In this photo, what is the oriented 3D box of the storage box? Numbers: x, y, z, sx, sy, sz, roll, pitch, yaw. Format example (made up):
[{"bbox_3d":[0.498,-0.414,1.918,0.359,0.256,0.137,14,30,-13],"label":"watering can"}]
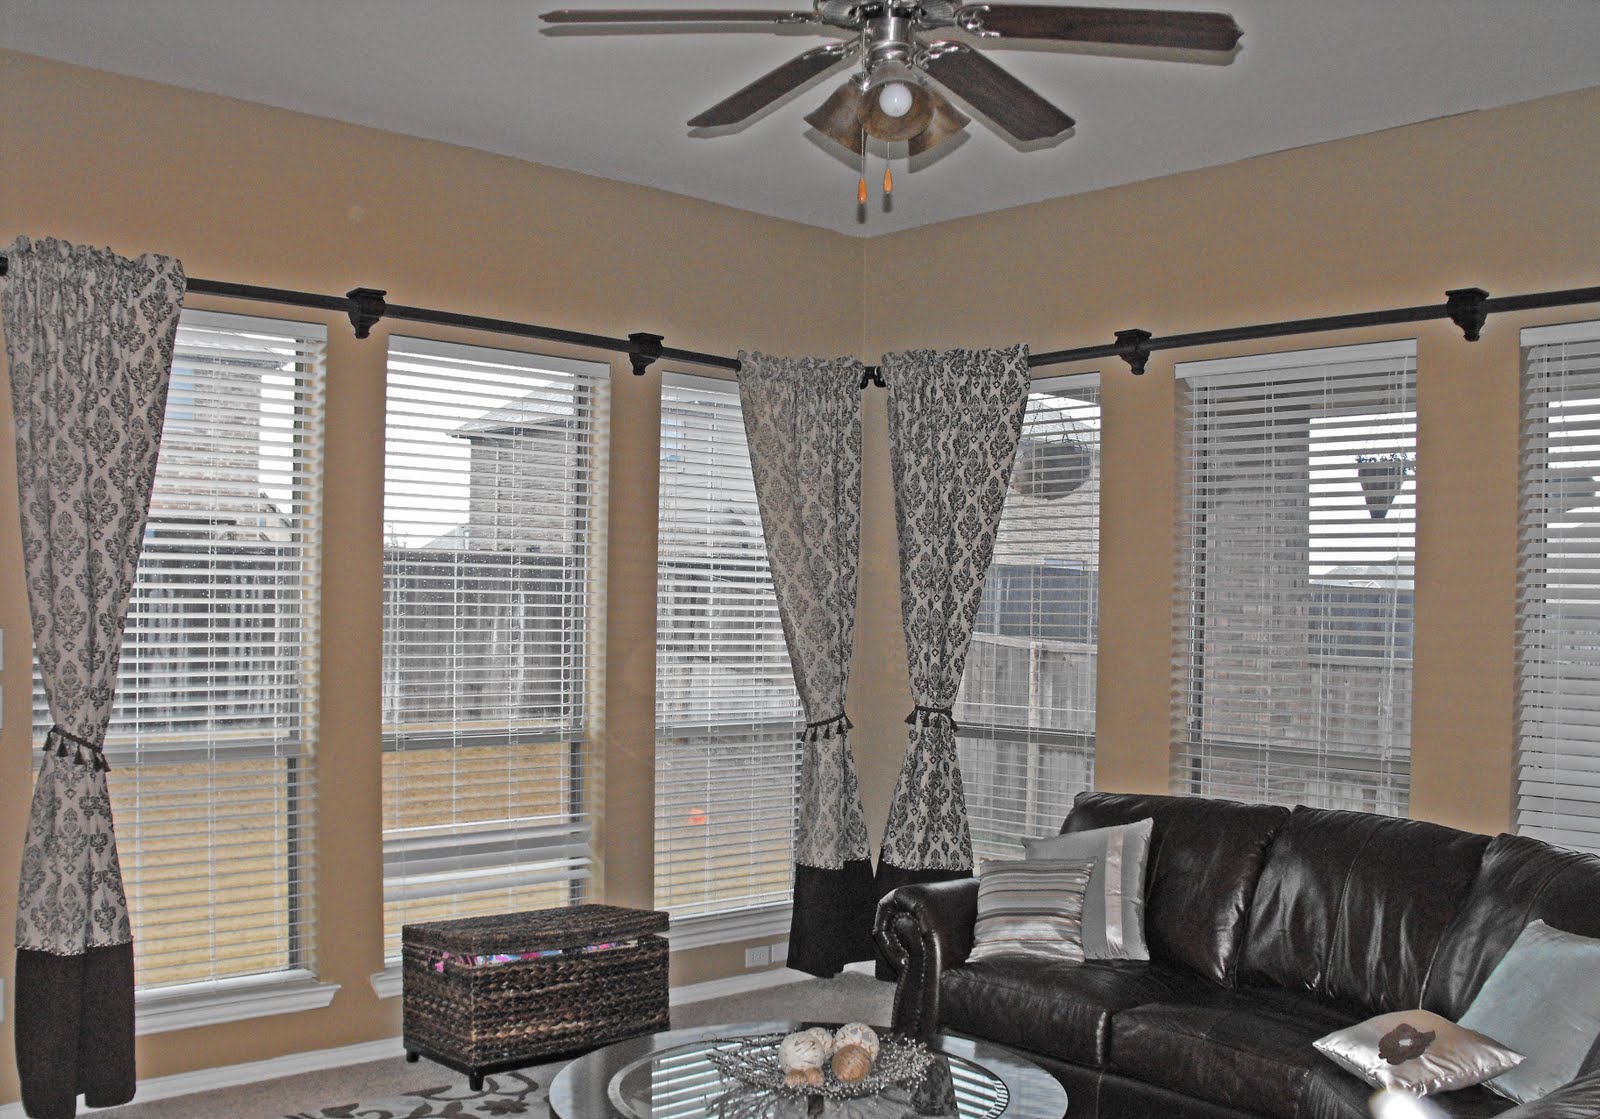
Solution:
[{"bbox_3d":[-1.086,1.797,5.599,0.538,0.562,1.016,-6,-11,44],"label":"storage box"}]

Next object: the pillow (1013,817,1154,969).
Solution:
[{"bbox_3d":[1.116,1.397,5.302,0.618,0.646,0.269,-20,-54,31],"label":"pillow"}]
